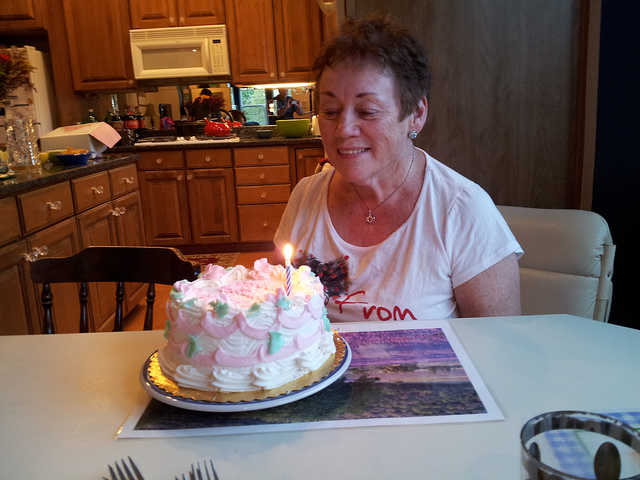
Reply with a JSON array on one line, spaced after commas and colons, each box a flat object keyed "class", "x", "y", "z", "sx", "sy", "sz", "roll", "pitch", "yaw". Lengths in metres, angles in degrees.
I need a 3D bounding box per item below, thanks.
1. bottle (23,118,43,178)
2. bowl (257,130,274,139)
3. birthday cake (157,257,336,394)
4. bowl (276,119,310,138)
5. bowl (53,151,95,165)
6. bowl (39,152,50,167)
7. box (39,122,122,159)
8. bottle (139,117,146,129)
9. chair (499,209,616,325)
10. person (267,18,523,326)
[{"class": "bottle", "x": -1.480, "y": -0.473, "z": 2.547, "sx": 0.072, "sy": 0.274, "sz": 0.240, "roll": -11, "pitch": 13, "yaw": -29}, {"class": "bowl", "x": -0.526, "y": -0.996, "z": 4.783, "sx": 0.133, "sy": 0.091, "sz": 0.263, "roll": -7, "pitch": 12, "yaw": -6}, {"class": "birthday cake", "x": -0.144, "y": 0.125, "z": 1.053, "sx": 0.258, "sy": 0.128, "sz": 0.266, "roll": -1, "pitch": 11, "yaw": -5}, {"class": "bowl", "x": -0.244, "y": -1.000, "z": 4.548, "sx": 0.280, "sy": 0.169, "sz": 0.171, "roll": -6, "pitch": 11, "yaw": -3}, {"class": "bowl", "x": -1.445, "y": -0.470, "z": 2.941, "sx": 0.191, "sy": 0.070, "sz": 0.141, "roll": -11, "pitch": 13, "yaw": -26}, {"class": "bowl", "x": -1.629, "y": -0.475, "z": 2.966, "sx": 0.042, "sy": 0.072, "sz": 0.140, "roll": -9, "pitch": 12, "yaw": -18}, {"class": "box", "x": -1.579, "y": -0.647, "z": 3.233, "sx": 0.384, "sy": 0.131, "sz": 0.277, "roll": 3, "pitch": 18, "yaw": 11}, {"class": "bottle", "x": -1.792, "y": -1.159, "z": 5.053, "sx": 0.050, "sy": 0.106, "sz": 0.299, "roll": -8, "pitch": 12, "yaw": -14}, {"class": "chair", "x": 0.667, "y": 0.059, "z": 1.420, "sx": 0.251, "sy": 0.365, "sz": 0.323, "roll": 1, "pitch": 3, "yaw": 32}, {"class": "person", "x": 0.174, "y": -0.195, "z": 1.426, "sx": 0.726, "sy": 0.840, "sz": 0.306, "roll": -1, "pitch": 12, "yaw": 23}]
